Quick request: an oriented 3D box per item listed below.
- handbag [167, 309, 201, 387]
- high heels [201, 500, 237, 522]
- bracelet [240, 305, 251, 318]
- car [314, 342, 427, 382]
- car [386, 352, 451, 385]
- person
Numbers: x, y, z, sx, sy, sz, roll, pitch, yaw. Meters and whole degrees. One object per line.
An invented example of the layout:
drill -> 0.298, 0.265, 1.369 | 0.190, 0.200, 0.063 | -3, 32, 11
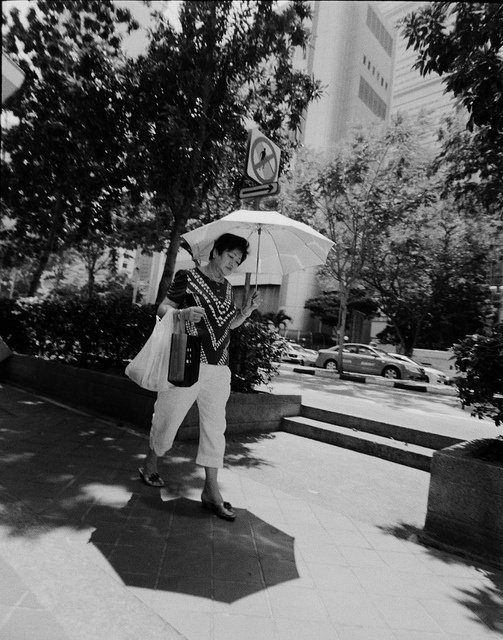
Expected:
handbag -> -0.426, 0.204, 2.656 | 0.205, 0.457, 0.099 | 7, -6, -9
high heels -> -0.205, 1.274, 2.801 | 0.199, 0.087, 0.092 | 14, -2, 35
bracelet -> -0.033, -0.056, 2.934 | 0.063, 0.058, 0.069 | 0, -3, -6
car -> 5.552, 1.827, 19.746 | 3.678, 1.449, 1.634 | 2, -8, 32
car -> 7.584, 2.248, 18.737 | 2.350, 0.982, 1.095 | 5, -3, 23
person -> -0.408, 0.338, 2.934 | 0.662, 1.910, 0.742 | 11, -7, -41
